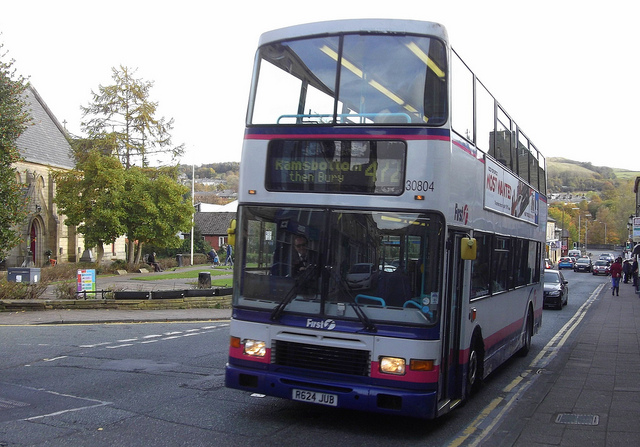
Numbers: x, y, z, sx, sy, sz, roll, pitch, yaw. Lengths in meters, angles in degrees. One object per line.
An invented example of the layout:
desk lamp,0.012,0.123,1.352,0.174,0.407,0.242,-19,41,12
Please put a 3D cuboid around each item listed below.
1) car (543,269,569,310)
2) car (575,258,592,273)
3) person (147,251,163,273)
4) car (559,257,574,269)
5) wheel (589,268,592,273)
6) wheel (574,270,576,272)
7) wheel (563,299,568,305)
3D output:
car,11.054,3.068,27.853,1.579,1.283,3.863,-2,-5,24
car,32.796,5.200,73.238,1.774,1.597,3.099,1,-1,27
person,-12.748,3.021,45.627,1.049,1.374,4.196,2,-1,-21
car,32.795,5.280,78.337,1.308,1.473,2.880,1,-1,42
wheel,33.414,5.834,72.859,0.431,0.422,0.435,4,-2,0
wheel,32.142,5.960,74.317,0.179,0.190,0.336,4,3,21
wheel,12.248,3.925,29.336,0.091,0.125,1.790,1,-1,28
